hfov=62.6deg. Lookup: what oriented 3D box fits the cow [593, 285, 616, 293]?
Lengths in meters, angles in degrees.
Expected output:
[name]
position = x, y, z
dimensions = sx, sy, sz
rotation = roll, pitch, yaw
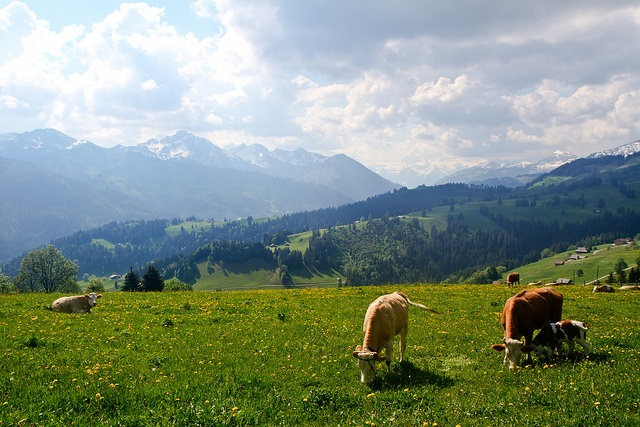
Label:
[cow]
position = 38.633, 10.291, 71.661
dimensions = 1.382, 0.596, 1.956
rotation = -2, -12, 5
